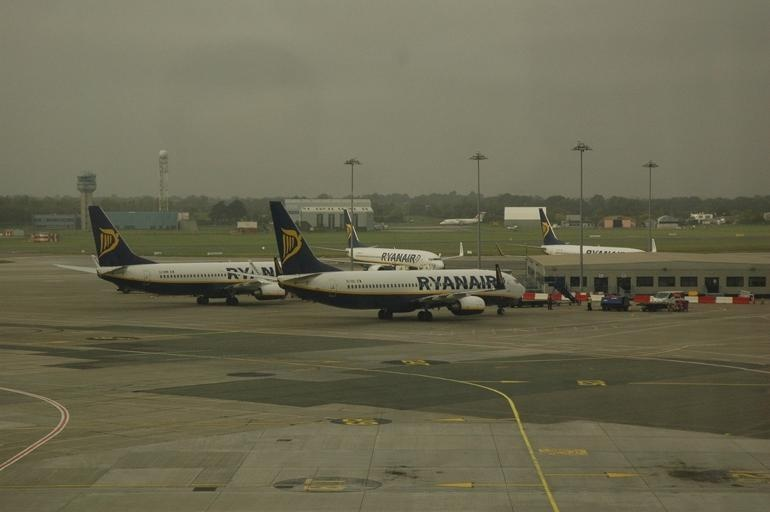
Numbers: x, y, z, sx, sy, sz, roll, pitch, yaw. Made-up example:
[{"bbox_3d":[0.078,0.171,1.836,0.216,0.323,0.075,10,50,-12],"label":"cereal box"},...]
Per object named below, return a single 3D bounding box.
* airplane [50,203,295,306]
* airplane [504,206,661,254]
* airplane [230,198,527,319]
[{"bbox_3d":[-16.600,1.846,90.430,16.249,4.051,13.002,-2,5,-38],"label":"airplane"},{"bbox_3d":[44.146,-6.142,229.889,21.733,5.827,18.913,3,4,4],"label":"airplane"},{"bbox_3d":[0.719,0.714,77.411,18.408,8.981,3.616,-4,8,-24],"label":"airplane"}]
